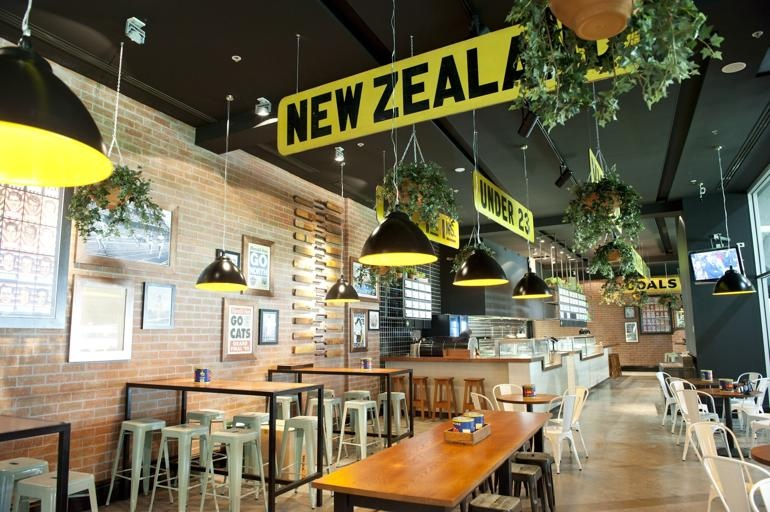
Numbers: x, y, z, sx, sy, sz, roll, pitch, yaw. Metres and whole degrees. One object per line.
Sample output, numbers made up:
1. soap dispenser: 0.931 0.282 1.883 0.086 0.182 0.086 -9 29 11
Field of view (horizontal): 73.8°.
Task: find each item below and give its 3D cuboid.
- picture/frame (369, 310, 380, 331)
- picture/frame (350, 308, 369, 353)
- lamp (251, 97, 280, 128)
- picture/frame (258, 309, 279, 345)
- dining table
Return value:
1. picture/frame: -0.240 1.372 10.891 0.037 0.365 0.451 -4 -7 25
2. picture/frame: -0.532 1.509 10.332 0.084 1.077 0.875 -4 -7 25
3. lamp: -1.615 -1.941 6.948 0.323 0.340 0.345 0 13 24
4. picture/frame: -1.912 1.171 8.387 0.088 0.662 0.603 -1 -4 27
5. dining table: -0.713 2.350 7.921 1.544 0.738 0.634 -5 -11 24
